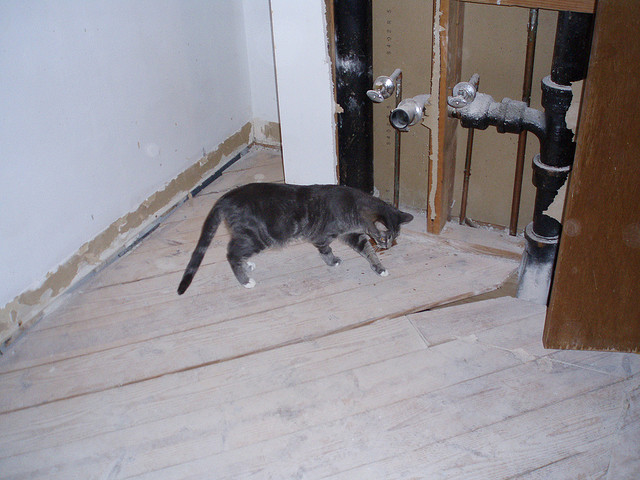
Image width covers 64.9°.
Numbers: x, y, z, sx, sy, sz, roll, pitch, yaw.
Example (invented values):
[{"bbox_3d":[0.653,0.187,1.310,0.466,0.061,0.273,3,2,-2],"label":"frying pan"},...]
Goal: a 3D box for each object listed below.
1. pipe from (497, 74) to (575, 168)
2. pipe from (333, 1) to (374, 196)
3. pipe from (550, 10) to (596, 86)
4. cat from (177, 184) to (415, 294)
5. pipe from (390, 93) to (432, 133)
[{"bbox_3d":[0.918,-0.549,2.284,0.332,0.396,0.273,-8,27,14],"label":"pipe"},{"bbox_3d":[0.192,-0.718,2.712,0.265,1.048,0.072,-21,33,-23],"label":"pipe"},{"bbox_3d":[0.979,-0.748,1.961,0.122,0.279,0.099,7,33,22],"label":"pipe"},{"bbox_3d":[-0.082,-0.145,2.927,1.549,0.702,0.522,-4,35,-11],"label":"cat"},{"bbox_3d":[0.435,-0.608,2.455,0.138,0.159,0.243,13,37,29],"label":"pipe"}]
